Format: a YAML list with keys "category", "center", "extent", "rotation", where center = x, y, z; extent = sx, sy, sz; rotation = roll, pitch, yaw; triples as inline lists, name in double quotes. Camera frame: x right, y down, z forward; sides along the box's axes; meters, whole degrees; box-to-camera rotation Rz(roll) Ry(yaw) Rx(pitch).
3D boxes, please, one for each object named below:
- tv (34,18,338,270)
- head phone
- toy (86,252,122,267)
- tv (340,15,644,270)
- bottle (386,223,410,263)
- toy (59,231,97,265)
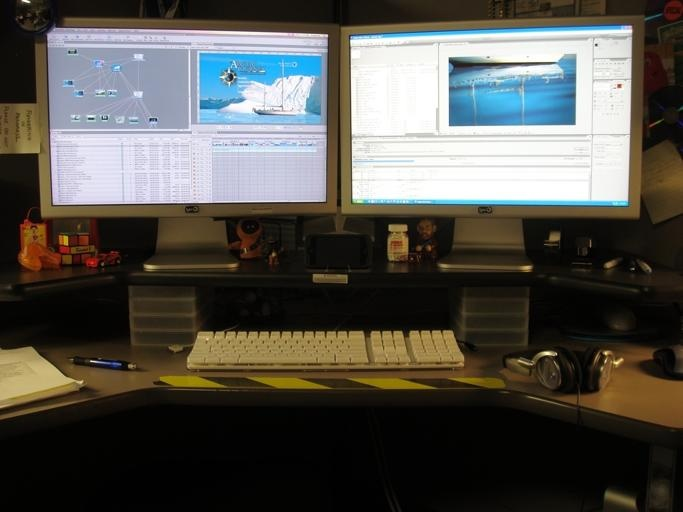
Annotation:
- category: "tv"
  center: [-0.423, -0.326, 1.728]
  extent: [0.721, 0.536, 0.187]
  rotation: [0, 5, -3]
- category: "head phone"
  center: [0.547, 0.264, 1.519]
  extent: [0.250, 0.098, 0.258]
  rotation: [-5, -6, 5]
- category: "toy"
  center: [-0.659, 0.004, 1.783]
  extent: [0.046, 0.027, 0.071]
  rotation: [2, 6, 28]
- category: "tv"
  center: [0.403, -0.323, 1.719]
  extent: [0.743, 0.580, 0.193]
  rotation: [0, 2, 4]
- category: "bottle"
  center: [0.160, -0.036, 1.869]
  extent: [0.090, 0.151, 0.090]
  rotation: [0, 7, 0]
- category: "toy"
  center: [-0.735, -0.024, 1.785]
  extent: [0.091, 0.077, 0.090]
  rotation: [-1, 12, -4]
